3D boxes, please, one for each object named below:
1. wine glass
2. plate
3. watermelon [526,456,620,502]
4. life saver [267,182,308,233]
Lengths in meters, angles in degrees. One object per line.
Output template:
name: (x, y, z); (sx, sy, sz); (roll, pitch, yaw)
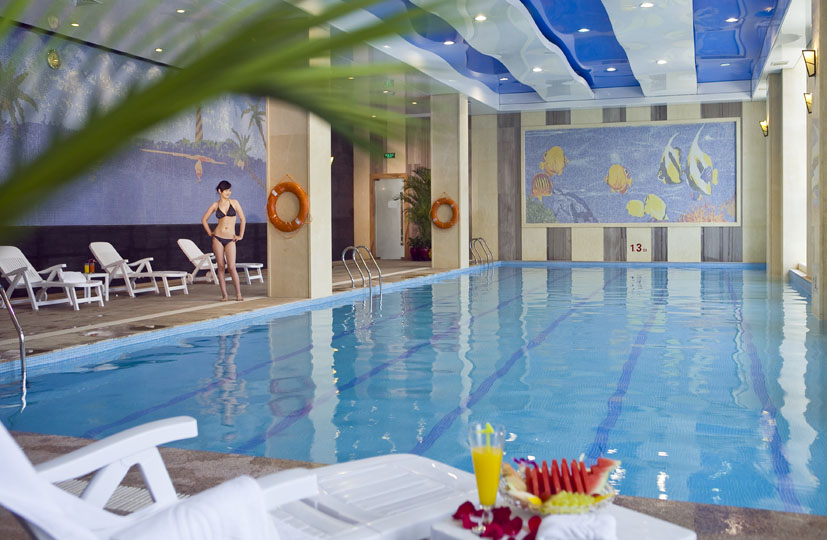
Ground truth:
wine glass: (0.207, 0.575, 1.510); (0.079, 0.311, 0.094); (-1, 22, 6)
plate: (0.395, 0.641, 1.514); (0.294, 0.084, 0.155); (0, 3, 25)
watermelon: (0.503, 0.637, 1.617); (0.234, 0.121, 0.249); (-11, -9, 24)
life saver: (-2.046, -1.014, 8.928); (0.708, 0.817, 0.186); (-7, -1, 31)
